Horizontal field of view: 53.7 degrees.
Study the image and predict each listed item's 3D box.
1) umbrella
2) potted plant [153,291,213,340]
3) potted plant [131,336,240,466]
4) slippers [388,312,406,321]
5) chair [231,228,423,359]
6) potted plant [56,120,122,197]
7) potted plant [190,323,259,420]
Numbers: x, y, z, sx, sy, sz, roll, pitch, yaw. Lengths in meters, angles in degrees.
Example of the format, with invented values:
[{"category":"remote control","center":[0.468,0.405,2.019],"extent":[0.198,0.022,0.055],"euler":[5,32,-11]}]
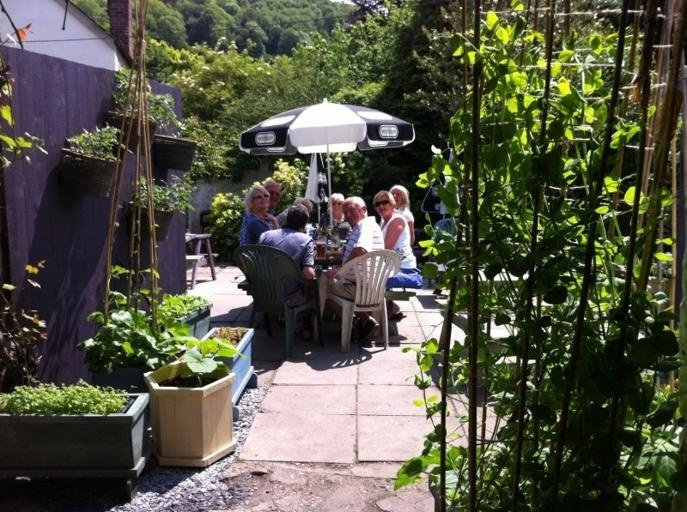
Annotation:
[{"category":"umbrella","center":[-0.230,-1.096,7.668],"extent":[1.553,1.099,1.549],"euler":[-3,6,-13]},{"category":"potted plant","center":[-1.131,0.395,4.713],"extent":[0.302,0.220,0.581],"euler":[7,10,-1]},{"category":"potted plant","center":[-0.830,0.745,3.609],"extent":[0.401,0.611,0.513],"euler":[-5,13,-30]},{"category":"slippers","center":[0.540,0.611,6.724],"extent":[0.228,0.074,0.089],"euler":[-4,3,-39]},{"category":"chair","center":[-0.118,0.214,5.827],"extent":[1.492,0.971,0.866],"euler":[0,9,-2]},{"category":"potted plant","center":[-1.570,-0.582,4.226],"extent":[0.408,0.495,0.432],"euler":[0,8,-23]},{"category":"potted plant","center":[-0.741,0.892,4.370],"extent":[0.383,0.528,0.832],"euler":[0,14,0]}]
